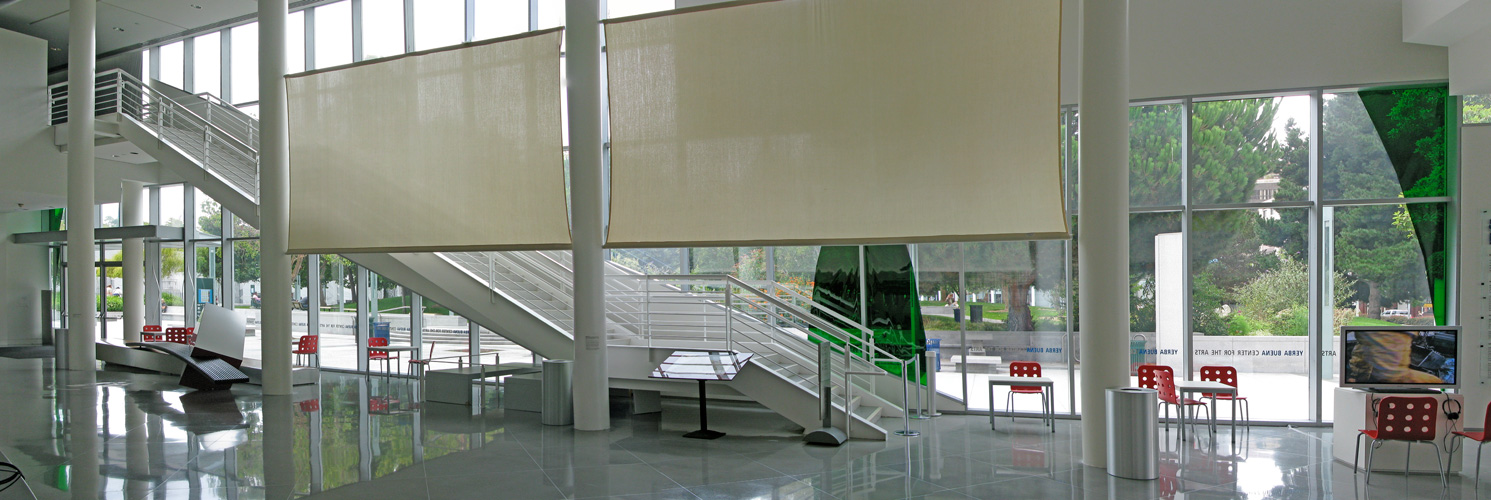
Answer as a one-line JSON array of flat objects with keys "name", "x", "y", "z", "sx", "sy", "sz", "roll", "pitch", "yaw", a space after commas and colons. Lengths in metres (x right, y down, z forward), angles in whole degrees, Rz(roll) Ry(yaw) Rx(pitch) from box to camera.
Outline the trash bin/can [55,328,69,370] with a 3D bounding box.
[{"name": "trash bin/can", "x": -28.615, "y": 4.127, "z": 39.078, "sx": 0.371, "sy": 1.644, "sz": 0.736, "roll": 1, "pitch": -7, "yaw": -40}]

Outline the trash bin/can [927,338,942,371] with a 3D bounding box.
[{"name": "trash bin/can", "x": 6.917, "y": 3.926, "z": 34.982, "sx": 0.420, "sy": 1.263, "sz": 0.628, "roll": -8, "pitch": -7, "yaw": 39}]

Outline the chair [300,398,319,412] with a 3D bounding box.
[{"name": "chair", "x": -16.332, "y": 5.826, "z": 34.954, "sx": 0.657, "sy": 0.398, "sz": 1.087, "roll": 0, "pitch": -4, "yaw": -25}]

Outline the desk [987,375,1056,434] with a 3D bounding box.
[{"name": "desk", "x": 10.375, "y": 5.893, "z": 34.477, "sx": 3.878, "sy": 1.944, "sz": 2.174, "roll": -1, "pitch": -3, "yaw": 11}]

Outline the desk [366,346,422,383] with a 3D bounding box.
[{"name": "desk", "x": -14.271, "y": 4.617, "z": 38.134, "sx": 2.303, "sy": 1.354, "sz": 1.976, "roll": 0, "pitch": 0, "yaw": -28}]

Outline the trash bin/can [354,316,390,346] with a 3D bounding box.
[{"name": "trash bin/can", "x": -15.543, "y": 3.369, "z": 38.948, "sx": 1.937, "sy": 1.166, "sz": 0.822, "roll": -1, "pitch": -3, "yaw": 7}]

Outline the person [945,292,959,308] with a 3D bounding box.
[{"name": "person", "x": 7.678, "y": 1.872, "z": 35.077, "sx": 0.443, "sy": 0.554, "sz": 0.098, "roll": -3, "pitch": -6, "yaw": 0}]

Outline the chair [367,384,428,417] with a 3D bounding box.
[{"name": "chair", "x": -13.345, "y": 5.766, "z": 35.585, "sx": 1.575, "sy": 0.592, "sz": 1.237, "roll": 0, "pitch": -2, "yaw": 14}]
